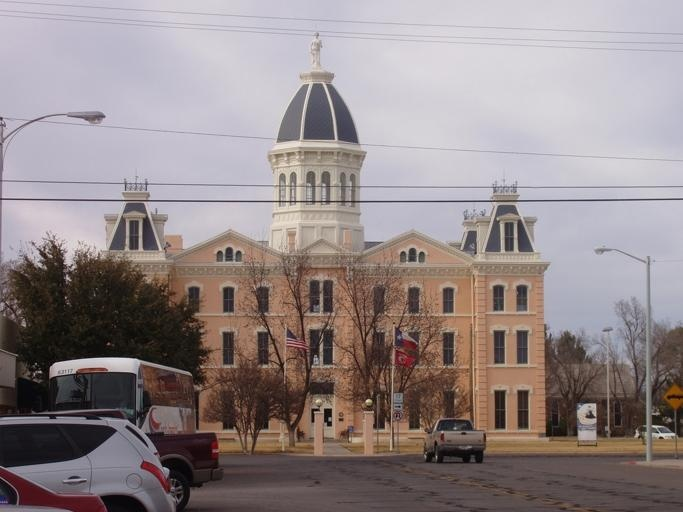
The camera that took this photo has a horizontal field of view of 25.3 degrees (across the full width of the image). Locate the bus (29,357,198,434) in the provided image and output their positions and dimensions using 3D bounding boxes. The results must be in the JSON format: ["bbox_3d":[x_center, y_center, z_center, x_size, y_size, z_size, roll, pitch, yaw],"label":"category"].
[{"bbox_3d":[-7.638,5.487,56.770,2.191,2.927,6.542,-4,-16,13],"label":"bus"}]

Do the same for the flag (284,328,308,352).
[{"bbox_3d":[-2.711,5.019,89.074,1.629,1.780,0.186,11,-41,-19],"label":"flag"}]

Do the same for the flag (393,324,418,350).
[{"bbox_3d":[3.612,4.735,87.227,1.363,1.592,0.163,17,-30,-41],"label":"flag"}]

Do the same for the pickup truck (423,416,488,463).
[{"bbox_3d":[5.114,8.536,69.543,2.239,2.092,4.751,1,-7,-5],"label":"pickup truck"}]
